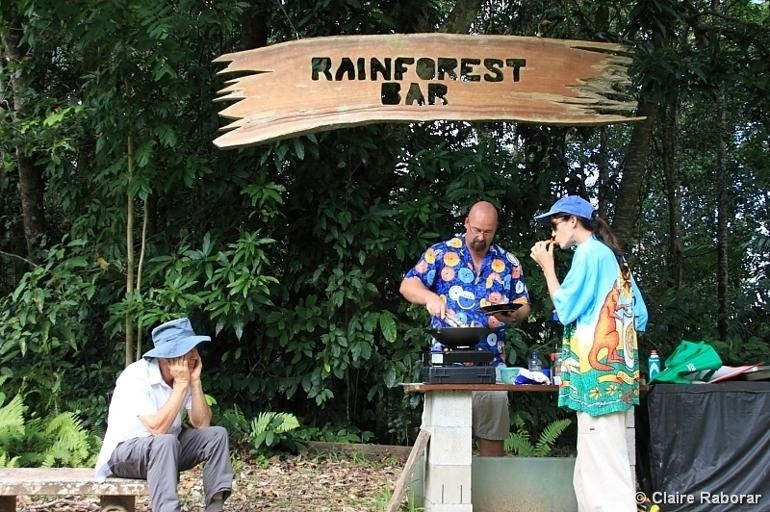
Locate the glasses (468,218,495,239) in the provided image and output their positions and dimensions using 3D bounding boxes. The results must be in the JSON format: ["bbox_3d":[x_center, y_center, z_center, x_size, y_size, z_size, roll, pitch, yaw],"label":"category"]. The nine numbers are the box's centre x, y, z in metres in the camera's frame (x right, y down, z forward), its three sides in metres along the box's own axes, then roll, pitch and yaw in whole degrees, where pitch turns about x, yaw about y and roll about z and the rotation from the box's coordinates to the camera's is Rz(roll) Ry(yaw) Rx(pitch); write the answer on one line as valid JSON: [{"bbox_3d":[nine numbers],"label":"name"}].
[{"bbox_3d":[0.905,-0.233,8.648,0.267,0.183,0.200,1,-3,1],"label":"glasses"}]

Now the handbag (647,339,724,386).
[{"bbox_3d":[2.714,0.946,8.301,0.627,0.382,0.275,1,-3,8],"label":"handbag"}]

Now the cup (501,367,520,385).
[{"bbox_3d":[1.126,1.074,8.280,0.141,0.111,0.144,0,-12,0],"label":"cup"}]

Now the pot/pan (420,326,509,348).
[{"bbox_3d":[0.647,0.717,8.130,0.503,0.190,0.175,1,-3,2],"label":"pot/pan"}]

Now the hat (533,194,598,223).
[{"bbox_3d":[1.586,-0.406,8.027,0.395,0.159,0.251,-5,-6,11],"label":"hat"}]

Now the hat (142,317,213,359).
[{"bbox_3d":[-1.822,0.744,8.052,0.439,0.231,0.391,-9,-10,-12],"label":"hat"}]

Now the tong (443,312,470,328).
[{"bbox_3d":[0.670,0.603,8.570,0.190,0.064,0.139,33,7,-14],"label":"tong"}]
